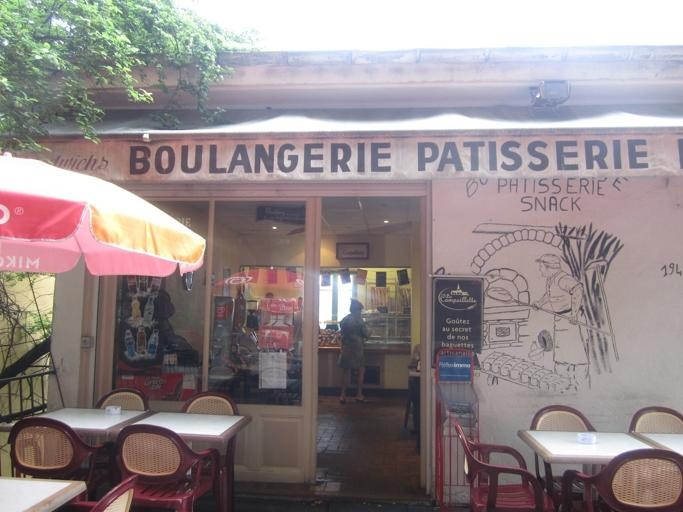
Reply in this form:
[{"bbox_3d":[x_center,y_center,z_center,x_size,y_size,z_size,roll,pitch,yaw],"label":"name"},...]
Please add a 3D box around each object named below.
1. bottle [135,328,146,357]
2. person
[{"bbox_3d":[-2.352,0.994,7.669,0.139,0.335,0.026,1,-6,18],"label":"bottle"},{"bbox_3d":[0.203,1.620,11.333,0.494,1.771,0.786,3,-6,0],"label":"person"}]
